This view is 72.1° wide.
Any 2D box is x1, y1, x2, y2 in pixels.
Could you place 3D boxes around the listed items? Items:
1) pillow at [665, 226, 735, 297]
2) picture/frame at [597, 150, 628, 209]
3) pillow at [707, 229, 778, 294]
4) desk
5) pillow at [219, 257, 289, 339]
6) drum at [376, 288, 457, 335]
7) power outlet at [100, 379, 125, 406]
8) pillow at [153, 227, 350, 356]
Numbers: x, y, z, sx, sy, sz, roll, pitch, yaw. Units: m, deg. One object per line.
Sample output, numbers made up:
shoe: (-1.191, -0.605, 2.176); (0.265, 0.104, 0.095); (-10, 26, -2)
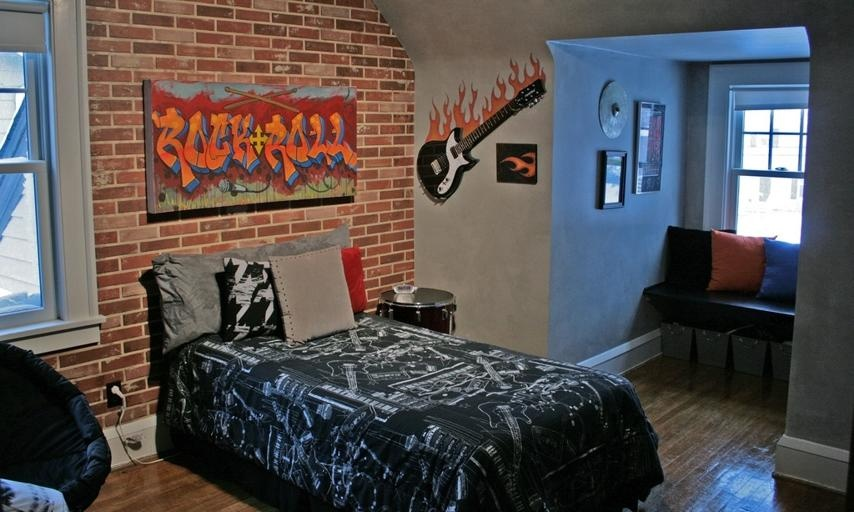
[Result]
pillow: (2.647, 0.077, 5.676); (0.695, 0.652, 0.249); (1, -5, 36)
picture/frame: (1.614, -0.675, 5.159); (0.044, 0.593, 0.523); (6, 9, 43)
pillow: (2.942, 0.089, 5.634); (0.674, 0.583, 0.250); (3, 0, -18)
desk: (2.710, 0.753, 5.407); (1.112, 0.500, 0.776); (9, 12, 37)
pillow: (-1.325, 0.313, 4.293); (0.251, 0.618, 0.662); (-4, -7, 19)
drum: (-0.028, 0.542, 4.943); (0.527, 0.371, 0.531); (3, 6, 0)
power outlet: (-2.206, 0.966, 4.177); (0.176, 0.174, 0.140); (3, 4, 42)
pillow: (-1.308, 0.235, 4.611); (0.324, 0.690, 1.590); (-10, -2, 44)
